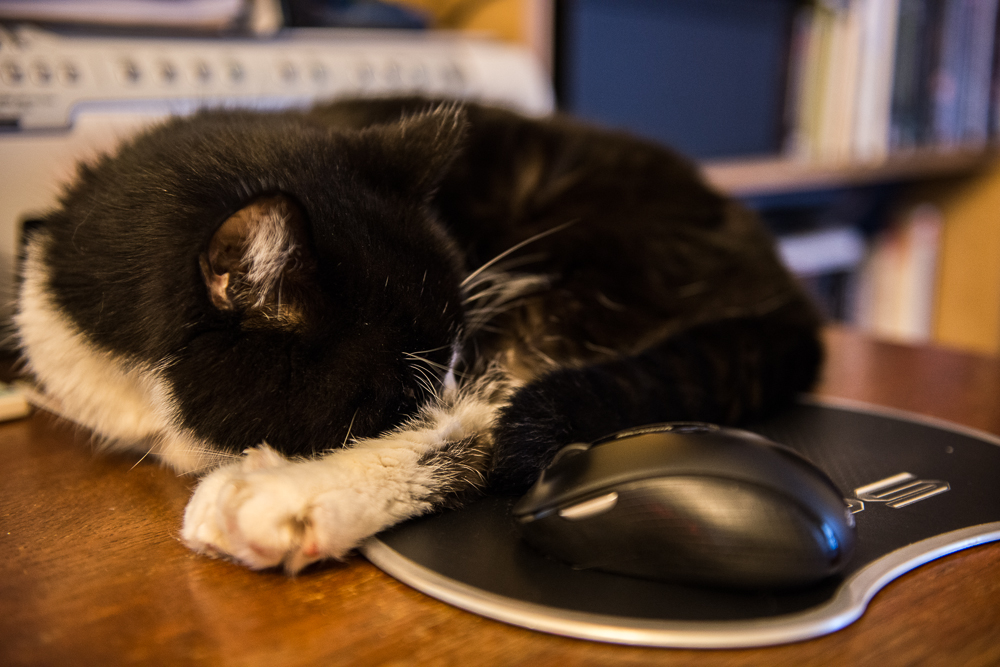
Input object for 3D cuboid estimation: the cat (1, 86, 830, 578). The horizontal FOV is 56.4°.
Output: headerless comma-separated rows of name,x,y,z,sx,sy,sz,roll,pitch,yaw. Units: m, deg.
cat,-0.078,-0.017,1.111,0.610,0.318,0.835,18,16,30
